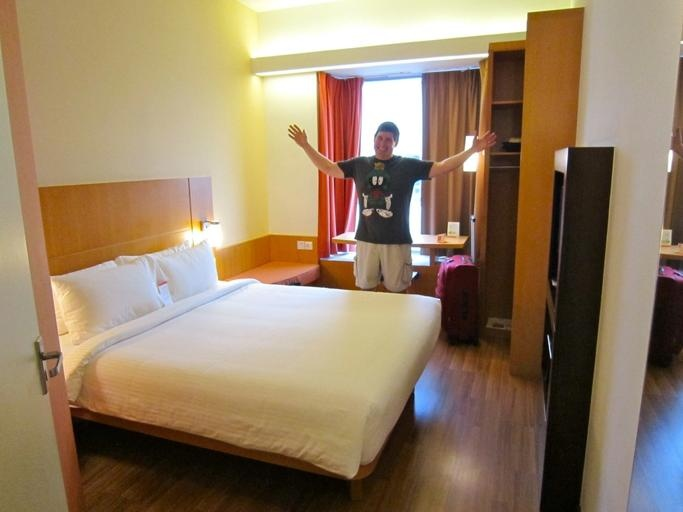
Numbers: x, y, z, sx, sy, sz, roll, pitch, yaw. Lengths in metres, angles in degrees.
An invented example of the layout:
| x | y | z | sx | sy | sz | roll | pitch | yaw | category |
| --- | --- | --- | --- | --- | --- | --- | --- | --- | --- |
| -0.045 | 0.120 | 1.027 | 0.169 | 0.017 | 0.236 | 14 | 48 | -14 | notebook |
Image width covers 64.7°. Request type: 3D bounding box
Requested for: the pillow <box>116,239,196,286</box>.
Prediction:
| x | y | z | sx | sy | sz | roll | pitch | yaw | category |
| --- | --- | --- | --- | --- | --- | --- | --- | --- | --- |
| -1.433 | 0.092 | 4.112 | 0.325 | 0.110 | 0.332 | -14 | 12 | 41 | pillow |

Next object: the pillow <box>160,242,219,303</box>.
| x | y | z | sx | sy | sz | roll | pitch | yaw | category |
| --- | --- | --- | --- | --- | --- | --- | --- | --- | --- |
| -1.206 | 0.134 | 4.246 | 0.200 | 0.439 | 0.659 | -11 | 3 | 24 | pillow |

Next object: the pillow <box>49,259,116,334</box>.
| x | y | z | sx | sy | sz | roll | pitch | yaw | category |
| --- | --- | --- | --- | --- | --- | --- | --- | --- | --- |
| -1.692 | 0.276 | 3.436 | 0.137 | 0.507 | 0.482 | -11 | 1 | 26 | pillow |

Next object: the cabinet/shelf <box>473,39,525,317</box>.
| x | y | z | sx | sy | sz | roll | pitch | yaw | category |
| --- | --- | --- | --- | --- | --- | --- | --- | --- | --- |
| 1.411 | -0.785 | 4.629 | 0.222 | 2.094 | 0.383 | 2 | 3 | -43 | cabinet/shelf |

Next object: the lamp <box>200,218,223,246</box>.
| x | y | z | sx | sy | sz | roll | pitch | yaw | category |
| --- | --- | --- | --- | --- | --- | --- | --- | --- | --- |
| -1.191 | -0.200 | 4.909 | 0.215 | 0.235 | 0.159 | 3 | 15 | 36 | lamp |

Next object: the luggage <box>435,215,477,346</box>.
| x | y | z | sx | sy | sz | roll | pitch | yaw | category |
| --- | --- | --- | --- | --- | --- | --- | --- | --- | --- |
| 0.944 | 0.311 | 5.130 | 0.519 | 1.150 | 0.730 | 0 | 7 | 6 | luggage |
